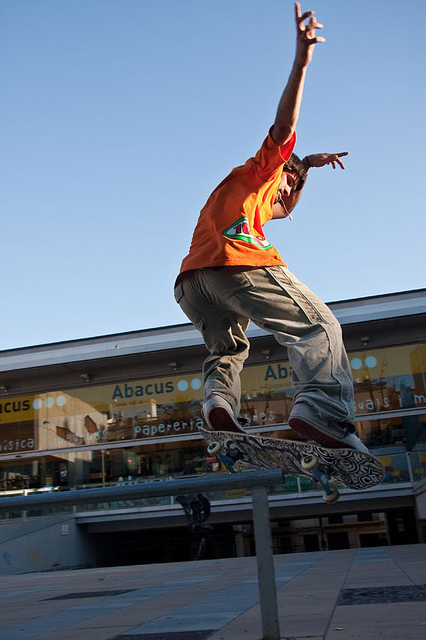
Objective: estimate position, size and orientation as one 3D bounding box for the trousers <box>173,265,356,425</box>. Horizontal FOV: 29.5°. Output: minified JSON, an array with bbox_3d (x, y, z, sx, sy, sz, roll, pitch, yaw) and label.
[{"bbox_3d":[0.292,0.169,5.069,0.653,1.089,0.861,0,-16,-34],"label":"trousers"}]

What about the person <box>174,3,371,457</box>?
[{"bbox_3d":[0.358,-0.432,5.097,0.732,2.665,1.545,5,-20,-45],"label":"person"}]
